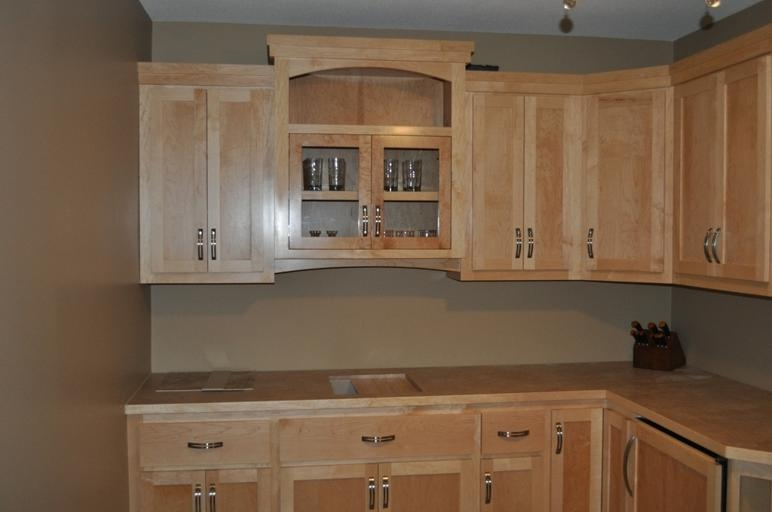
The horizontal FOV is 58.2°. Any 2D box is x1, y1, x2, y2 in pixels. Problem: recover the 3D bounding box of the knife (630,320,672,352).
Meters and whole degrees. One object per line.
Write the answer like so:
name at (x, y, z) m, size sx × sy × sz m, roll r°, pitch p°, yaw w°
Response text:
knife at (1.715, 0.500, 4.501) m, size 0.125 × 0.170 × 0.250 m, roll -35°, pitch -27°, yaw 23°
